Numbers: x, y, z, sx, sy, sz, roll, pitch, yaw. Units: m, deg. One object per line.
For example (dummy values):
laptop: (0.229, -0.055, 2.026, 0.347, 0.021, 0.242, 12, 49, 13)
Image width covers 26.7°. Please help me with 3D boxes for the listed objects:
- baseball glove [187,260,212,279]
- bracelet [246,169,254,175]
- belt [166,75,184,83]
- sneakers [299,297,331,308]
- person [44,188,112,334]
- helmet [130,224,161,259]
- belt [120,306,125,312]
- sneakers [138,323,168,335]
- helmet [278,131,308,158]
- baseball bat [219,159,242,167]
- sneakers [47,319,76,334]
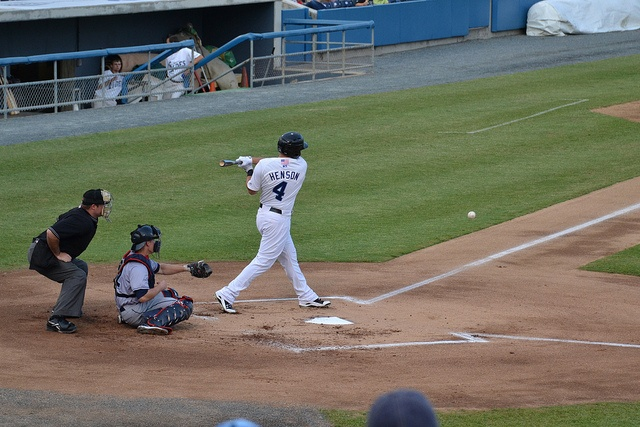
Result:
baseball glove: (-2.457, 1.137, 27.784, 0.528, 0.271, 0.209, 8, 12, 1)
bracelet: (-1.474, -0.867, 28.365, 0.144, 0.108, 0.127, 1, 1, 1)
belt: (-4.568, -4.301, 42.846, 0.376, 0.210, 0.338, 14, 26, 27)
sneakers: (-0.076, 1.883, 28.541, 0.712, 0.226, 0.211, -1, 3, 1)
person: (-4.959, 0.956, 27.235, 0.780, 2.832, 1.125, 9, 16, 30)
helmet: (-3.538, 0.452, 27.467, 0.750, 0.488, 0.471, -7, 13, -25)
belt: (-4.014, 1.936, 27.363, 0.134, 0.090, 0.029, 8, -2, 19)
sneakers: (-3.362, 2.347, 27.308, 0.669, 0.246, 0.195, 4, 42, -4)
helmet: (-0.531, -1.460, 28.347, 0.716, 0.496, 0.455, -13, 46, -29)
baseball bat: (-1.831, -1.064, 28.228, 0.154, 0.165, 0.882, -35, -12, 18)
sneakers: (-5.236, 2.267, 27.185, 0.630, 0.207, 0.251, 2, 9, 6)
